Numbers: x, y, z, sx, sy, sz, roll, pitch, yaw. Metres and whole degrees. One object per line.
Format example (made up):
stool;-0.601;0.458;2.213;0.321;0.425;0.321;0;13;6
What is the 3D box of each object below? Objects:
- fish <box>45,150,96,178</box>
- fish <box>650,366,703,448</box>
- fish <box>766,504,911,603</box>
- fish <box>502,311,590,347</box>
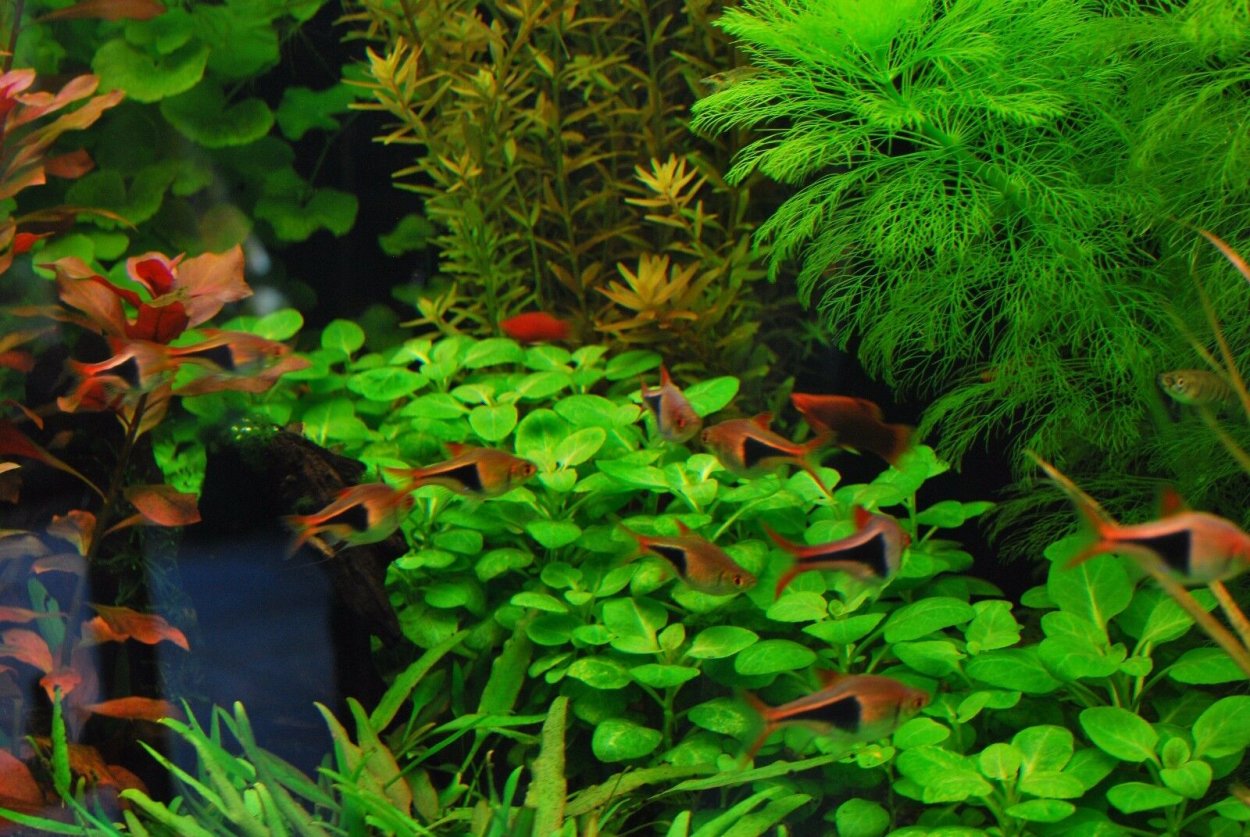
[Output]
fish;-1.742;-0.805;3.556;0.128;0.077;0.177;-11;7;-3
fish;0.140;-0.023;3.466;0.127;0.222;0.227;-12;8;1
fish;0.567;0.367;3.075;0.348;0.228;0.188;-10;8;1
fish;-0.310;-0.338;4.288;0.418;0.061;0.166;-2;-17;-40
